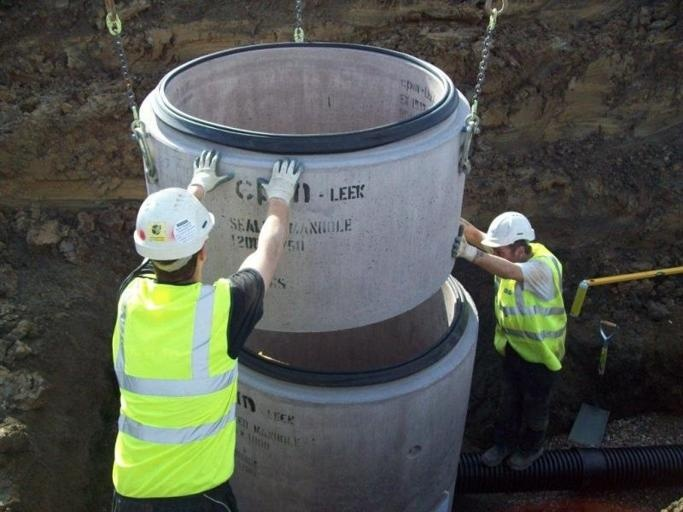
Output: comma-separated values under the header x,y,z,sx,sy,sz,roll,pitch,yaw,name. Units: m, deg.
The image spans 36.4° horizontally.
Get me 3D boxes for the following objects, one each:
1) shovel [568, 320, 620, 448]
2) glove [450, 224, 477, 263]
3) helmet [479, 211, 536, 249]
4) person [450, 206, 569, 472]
x,y,z,sx,sy,sz,roll,pitch,yaw,name
2.771,1.405,11.481,0.384,1.229,0.938,9,24,21,shovel
1.106,-0.107,9.561,0.133,0.316,0.241,4,7,26,glove
1.630,-0.298,10.193,0.484,0.246,0.373,-8,20,-9,helmet
1.681,0.873,10.437,1.060,2.634,0.788,1,22,2,person
